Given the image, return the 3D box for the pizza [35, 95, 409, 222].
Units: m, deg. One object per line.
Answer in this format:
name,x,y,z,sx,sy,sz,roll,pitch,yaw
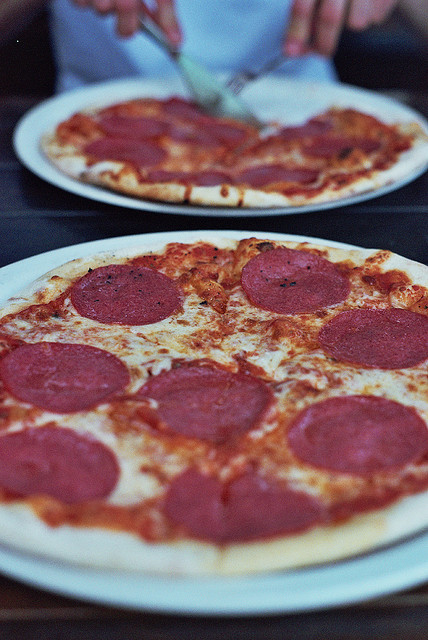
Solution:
pizza,0.034,-0.549,2.102,1.172,0.091,0.871,-5,35,-10
